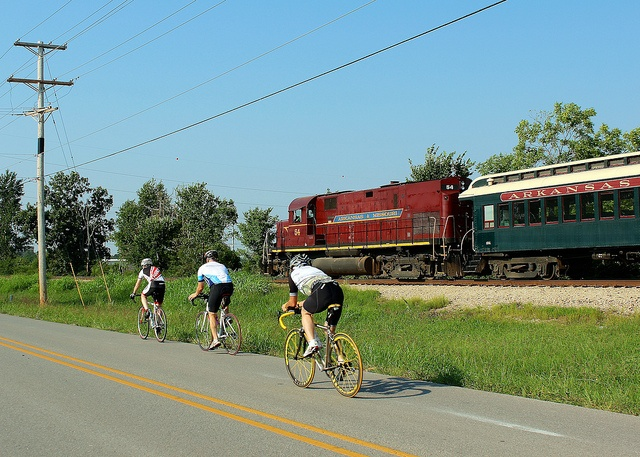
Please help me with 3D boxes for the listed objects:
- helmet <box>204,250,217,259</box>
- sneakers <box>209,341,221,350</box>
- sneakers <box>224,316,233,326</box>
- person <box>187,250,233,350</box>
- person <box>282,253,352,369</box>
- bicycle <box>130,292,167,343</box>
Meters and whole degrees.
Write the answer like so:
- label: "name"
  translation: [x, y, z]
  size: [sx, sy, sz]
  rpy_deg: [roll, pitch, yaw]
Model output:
- label: "helmet"
  translation: [-2.847, 0.620, 15.534]
  size: [0.242, 0.234, 0.279]
  rpy_deg: [-1, -13, 17]
- label: "sneakers"
  translation: [-2.758, 3.013, 15.465]
  size: [0.152, 0.213, 0.464]
  rpy_deg: [5, -10, -34]
- label: "sneakers"
  translation: [-2.379, 2.359, 15.289]
  size: [0.167, 0.265, 0.110]
  rpy_deg: [-3, -8, 36]
- label: "person"
  translation: [-2.806, 1.852, 15.473]
  size: [0.932, 2.551, 0.455]
  rpy_deg: [-1, 2, 19]
- label: "person"
  translation: [-0.165, 1.557, 12.098]
  size: [1.157, 2.057, 0.596]
  rpy_deg: [-1, 2, 33]
- label: "bicycle"
  translation: [-5.214, 2.669, 17.604]
  size: [0.802, 1.120, 1.667]
  rpy_deg: [2, 1, -36]
